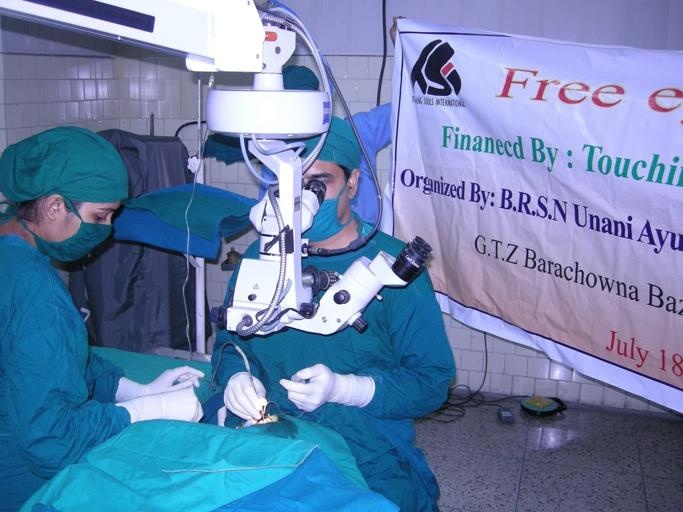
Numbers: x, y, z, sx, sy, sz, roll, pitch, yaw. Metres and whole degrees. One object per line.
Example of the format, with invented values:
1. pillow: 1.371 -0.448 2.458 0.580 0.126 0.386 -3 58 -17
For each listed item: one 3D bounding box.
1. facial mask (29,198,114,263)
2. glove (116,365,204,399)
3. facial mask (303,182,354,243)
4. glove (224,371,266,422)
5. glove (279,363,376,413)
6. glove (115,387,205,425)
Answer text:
1. facial mask: -1.023 -0.049 2.367 0.238 0.130 0.225 56 17 12
2. glove: -0.797 0.582 2.809 0.401 0.118 0.153 -7 24 -24
3. facial mask: -0.046 -0.151 2.444 0.156 0.201 0.167 17 32 35
4. glove: -0.332 0.506 2.251 0.079 0.139 0.168 -15 31 -31
5. glove: -0.043 0.468 2.204 0.345 0.188 0.103 3 13 -12
6. glove: -0.695 0.590 2.456 0.274 0.108 0.176 -5 58 -11
